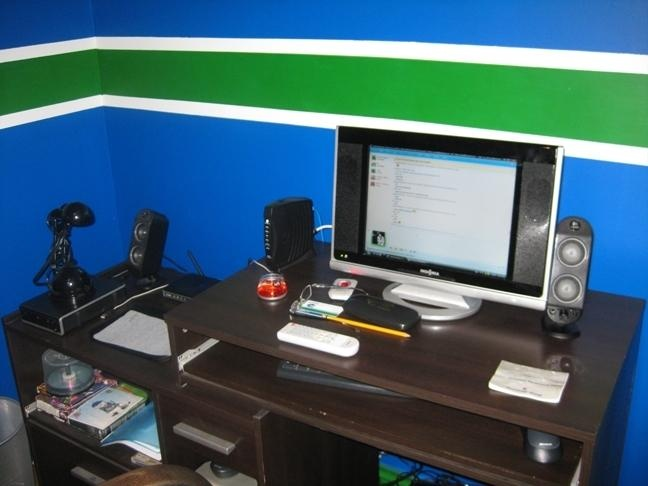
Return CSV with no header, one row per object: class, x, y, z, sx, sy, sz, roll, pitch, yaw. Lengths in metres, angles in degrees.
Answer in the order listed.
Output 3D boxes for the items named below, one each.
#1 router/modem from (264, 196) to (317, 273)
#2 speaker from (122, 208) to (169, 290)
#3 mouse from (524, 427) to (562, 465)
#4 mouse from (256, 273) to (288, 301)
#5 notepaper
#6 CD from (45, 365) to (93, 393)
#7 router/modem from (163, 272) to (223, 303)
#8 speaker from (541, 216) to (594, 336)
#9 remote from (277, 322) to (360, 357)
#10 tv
router/modem,-0.119,-0.024,1.857,0.088,0.227,0.252,3,7,36
speaker,-0.701,0.015,2.209,0.157,0.344,0.159,7,22,13
mouse,0.552,0.516,1.349,0.084,0.064,0.050,8,17,22
mouse,-0.166,0.143,1.720,0.085,0.051,0.084,-3,18,-8
notepaper,0.520,0.353,1.360,0.176,0.039,0.119,9,17,24
CD,-0.973,0.521,2.058,0.111,0.063,0.109,-9,23,-33
router/modem,-0.576,0.180,2.245,0.137,0.033,0.146,16,30,29
speaker,0.685,0.096,1.550,0.135,0.323,0.111,12,22,30
remote,-0.011,0.267,1.505,0.217,0.035,0.090,10,22,20
tv,0.363,-0.076,1.606,0.751,0.560,0.119,13,23,35
